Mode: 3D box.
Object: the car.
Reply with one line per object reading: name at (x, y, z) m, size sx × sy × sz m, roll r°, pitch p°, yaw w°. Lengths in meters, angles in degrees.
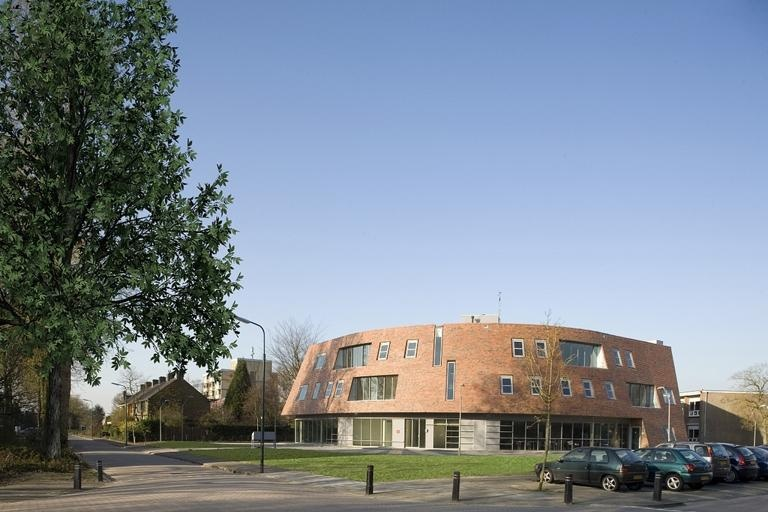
car at (14.038, 11.012, 37.141) m, size 9.774 × 2.355 × 3.166 m, roll 4°, pitch -18°, yaw -13°
